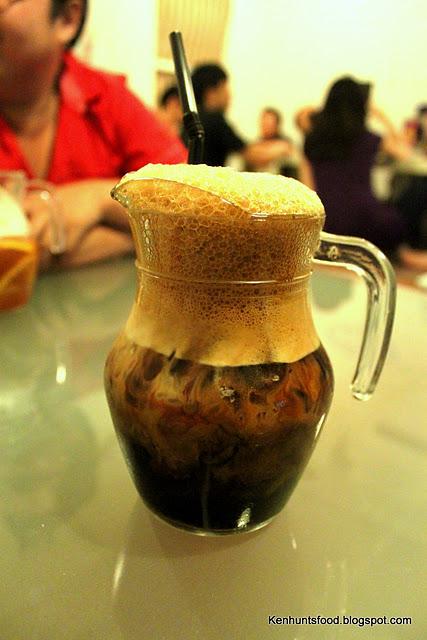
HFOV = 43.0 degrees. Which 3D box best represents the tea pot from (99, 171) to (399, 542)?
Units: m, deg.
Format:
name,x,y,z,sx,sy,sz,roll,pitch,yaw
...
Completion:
name,x,y,z,sx,sy,sz,roll,pitch,yaw
tea pot,0.007,0.034,0.493,0.212,0.319,0.180,-1,37,-8
